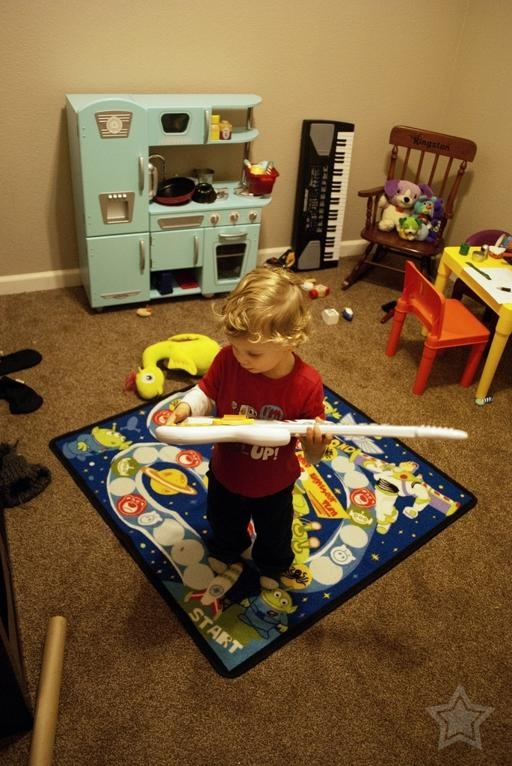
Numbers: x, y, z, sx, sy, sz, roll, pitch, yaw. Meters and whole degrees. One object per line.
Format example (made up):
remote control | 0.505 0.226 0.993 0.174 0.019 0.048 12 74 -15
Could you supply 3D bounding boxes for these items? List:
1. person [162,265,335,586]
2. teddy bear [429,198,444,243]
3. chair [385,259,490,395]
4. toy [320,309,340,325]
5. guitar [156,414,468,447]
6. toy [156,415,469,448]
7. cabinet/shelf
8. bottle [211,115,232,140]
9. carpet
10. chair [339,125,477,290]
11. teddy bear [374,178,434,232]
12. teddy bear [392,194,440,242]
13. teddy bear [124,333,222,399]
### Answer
person | -0.004 0.176 1.513 0.357 0.979 0.328 9 31 7
teddy bear | 1.043 -0.935 3.444 0.066 0.147 0.194 9 71 30
chair | 0.871 -0.240 2.845 0.409 0.563 0.427 -15 43 -15
toy | 0.409 -0.351 3.270 0.088 0.065 0.088 -7 38 -13
guitar | 0.132 0.124 1.524 0.778 0.083 0.187 0 3 3
toy | 0.134 0.128 1.533 0.785 0.084 0.190 0 3 3
cabinet/shelf | -0.433 -0.916 3.120 1.045 0.984 0.420 -14 35 -30
bottle | -0.174 -1.247 2.957 0.082 0.115 0.160 15 32 18
carpet | 0.023 0.422 2.076 0.886 0.014 0.812 -27 53 -35
chair | 0.887 -0.965 3.514 0.569 0.828 0.628 11 43 12
teddy bear | 0.867 -1.063 3.594 0.282 0.292 0.202 6 35 -13
teddy bear | 0.950 -0.948 3.461 0.238 0.220 0.224 2 31 -5
teddy bear | -0.364 -0.102 2.625 0.355 0.117 0.272 -15 39 -24
